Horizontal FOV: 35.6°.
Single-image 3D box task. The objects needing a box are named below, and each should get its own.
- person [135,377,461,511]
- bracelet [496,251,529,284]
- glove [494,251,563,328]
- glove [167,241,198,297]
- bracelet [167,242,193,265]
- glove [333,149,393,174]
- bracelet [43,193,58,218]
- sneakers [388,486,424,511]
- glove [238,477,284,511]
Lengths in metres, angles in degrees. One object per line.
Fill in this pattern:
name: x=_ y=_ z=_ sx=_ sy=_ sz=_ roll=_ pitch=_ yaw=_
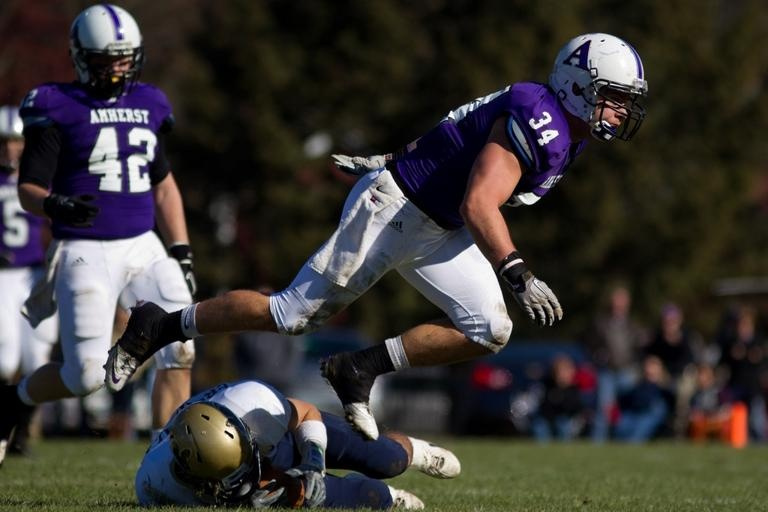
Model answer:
person: x=-0.674 y=1.300 z=9.180 sx=1.114 sy=0.627 sz=1.628 roll=-9 pitch=-7 yaw=29
bracelet: x=0.992 y=0.098 z=9.204 sx=0.232 sy=0.244 sz=0.177 roll=4 pitch=-7 yaw=7
glove: x=1.131 y=0.276 z=9.312 sx=0.362 sy=0.660 sz=0.262 roll=-39 pitch=8 yaw=3
glove: x=-1.718 y=0.116 z=10.242 sx=0.140 sy=0.429 sz=0.293 roll=-5 pitch=-10 yaw=-1
bracelet: x=-1.742 y=-0.044 z=10.237 sx=0.159 sy=0.164 sz=0.156 roll=-23 pitch=8 yaw=25
glove: x=-0.174 y=-0.736 z=9.834 sx=0.646 sy=0.195 sz=0.225 roll=-3 pitch=-9 yaw=34
bracelet: x=-2.720 y=-0.393 z=9.651 sx=0.105 sy=0.130 sz=0.168 roll=3 pitch=-42 yaw=-13
sneakers: x=0.163 y=1.850 z=9.101 sx=0.211 sy=0.094 sz=0.162 roll=10 pitch=0 yaw=26
glove: x=-0.906 y=1.759 z=8.824 sx=0.289 sy=0.166 sz=0.105 roll=-31 pitch=-14 yaw=-6
